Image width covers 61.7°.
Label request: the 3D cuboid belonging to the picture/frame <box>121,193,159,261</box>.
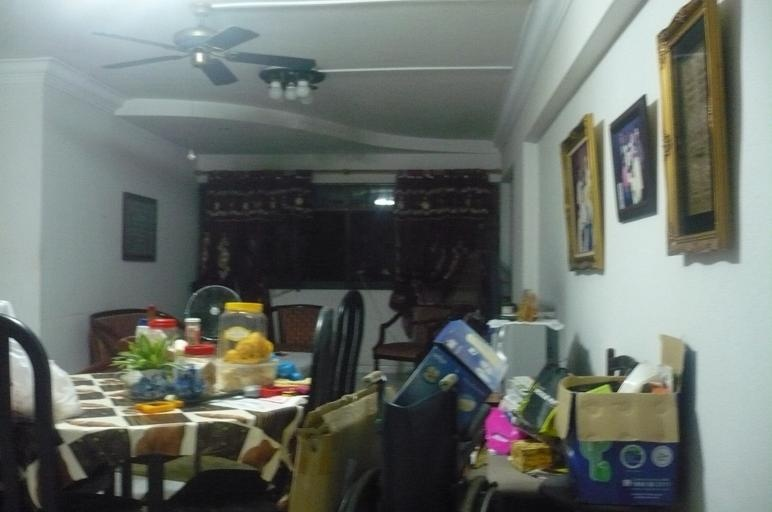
[{"bbox_3d":[-0.792,-0.093,2.093,0.110,0.234,0.108,-1,-2,-19],"label":"picture/frame"}]

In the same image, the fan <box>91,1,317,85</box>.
[{"bbox_3d":[-0.542,-0.633,1.991,0.357,0.112,0.319,3,-8,-29],"label":"fan"}]

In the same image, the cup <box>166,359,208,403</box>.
[{"bbox_3d":[-0.526,0.335,1.738,0.127,0.117,0.117,0,-9,0],"label":"cup"}]

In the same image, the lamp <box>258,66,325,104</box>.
[{"bbox_3d":[-0.298,-0.538,2.031,0.147,0.046,0.136,0,-9,-5],"label":"lamp"}]

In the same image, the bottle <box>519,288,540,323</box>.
[{"bbox_3d":[0.523,0.187,2.394,0.095,0.121,0.068,-1,-2,-10],"label":"bottle"}]

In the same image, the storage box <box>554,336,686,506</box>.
[{"bbox_3d":[0.506,0.420,1.742,0.415,0.472,0.378,1,-9,9],"label":"storage box"}]
